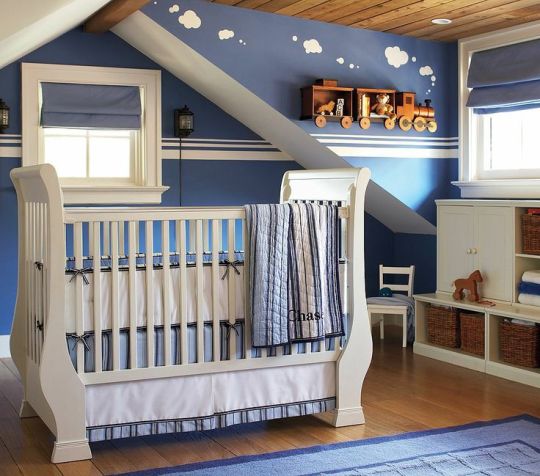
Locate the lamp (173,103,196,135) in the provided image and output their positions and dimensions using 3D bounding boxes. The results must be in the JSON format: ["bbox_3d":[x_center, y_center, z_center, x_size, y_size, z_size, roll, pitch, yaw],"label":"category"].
[{"bbox_3d":[-0.655,-0.910,4.459,0.131,0.244,0.176,-1,3,-19],"label":"lamp"}]

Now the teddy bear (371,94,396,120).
[{"bbox_3d":[0.812,-0.960,4.194,0.176,0.177,0.082,2,5,1],"label":"teddy bear"}]

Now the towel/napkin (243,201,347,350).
[{"bbox_3d":[0.101,0.180,2.717,0.670,0.863,0.093,-2,1,-22],"label":"towel/napkin"}]

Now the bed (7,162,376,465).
[{"bbox_3d":[-0.444,0.376,3.051,2.022,1.616,1.223,-1,2,-29],"label":"bed"}]

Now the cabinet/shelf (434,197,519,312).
[{"bbox_3d":[1.432,0.118,3.977,0.287,0.767,0.796,1,1,-24],"label":"cabinet/shelf"}]

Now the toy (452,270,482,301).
[{"bbox_3d":[1.372,0.324,4.028,0.202,0.213,0.209,1,3,26],"label":"toy"}]
